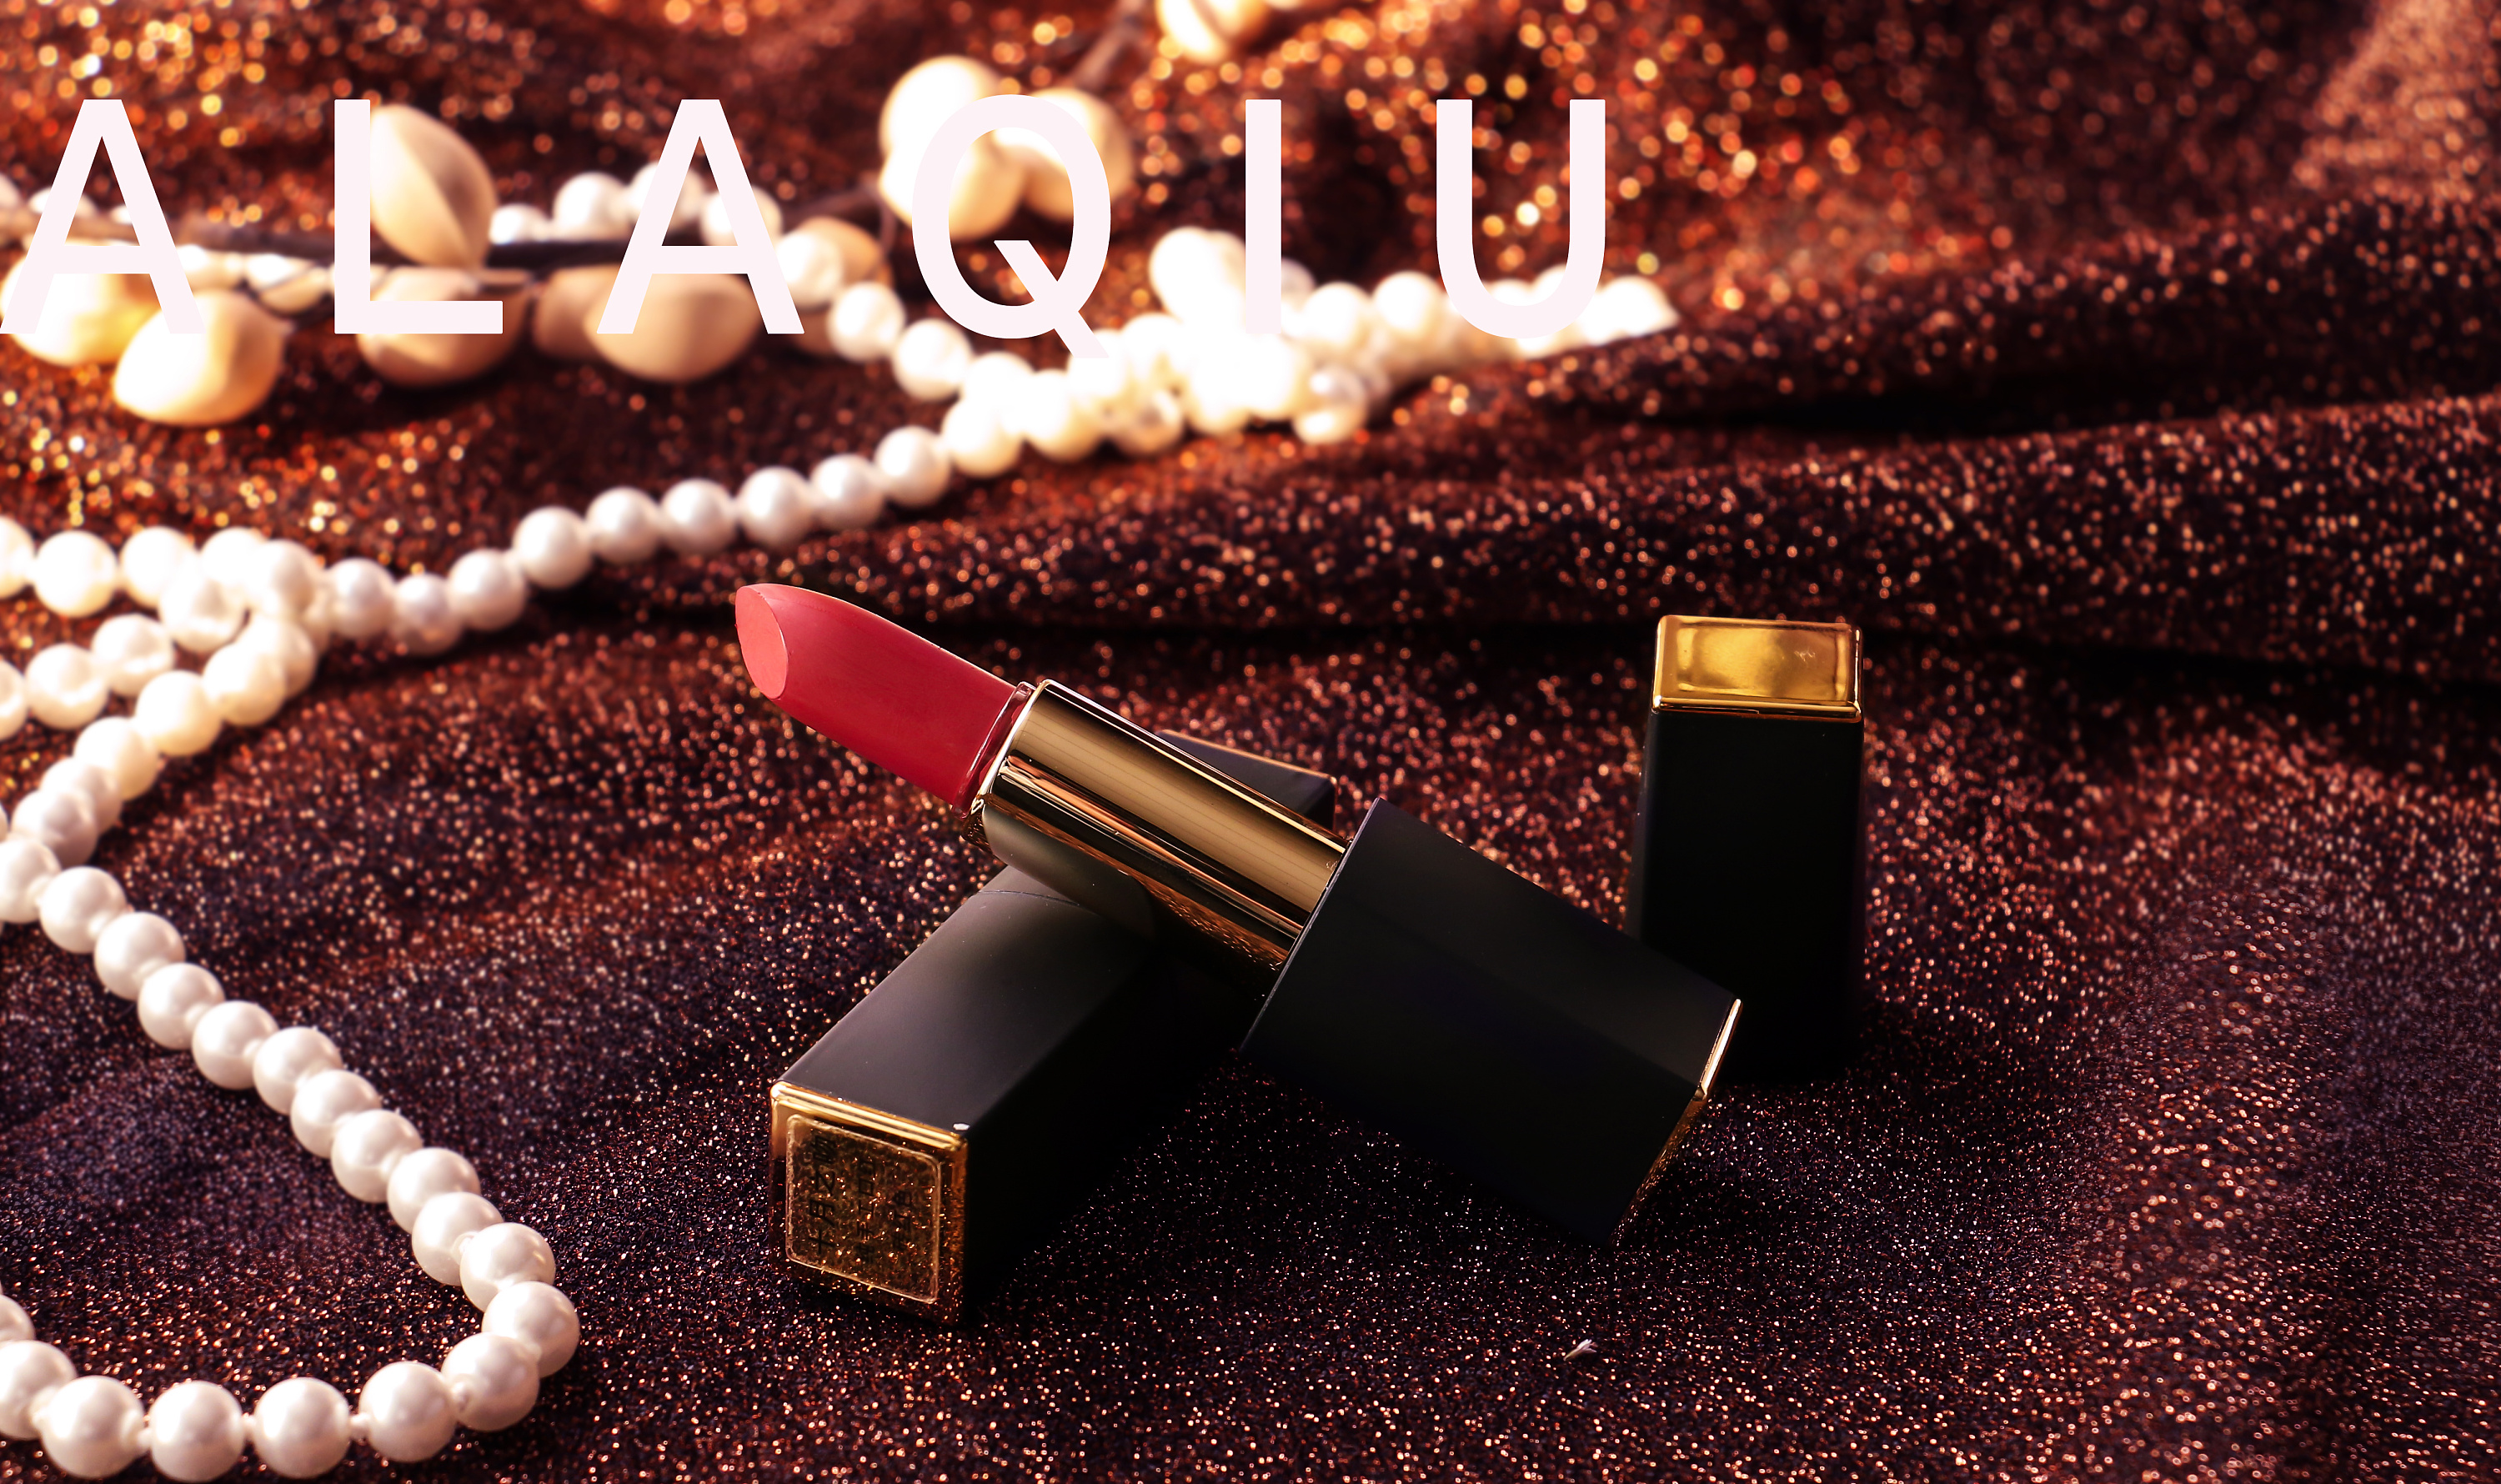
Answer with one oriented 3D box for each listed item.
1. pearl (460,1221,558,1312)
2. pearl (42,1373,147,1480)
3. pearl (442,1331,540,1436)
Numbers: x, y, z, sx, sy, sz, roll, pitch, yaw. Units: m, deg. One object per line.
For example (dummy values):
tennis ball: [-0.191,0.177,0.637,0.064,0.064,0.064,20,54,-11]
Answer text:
pearl: [-0.287,0.202,0.902,0.045,0.033,0.033,15,66,-11]
pearl: [-0.422,0.252,0.855,0.044,0.036,0.037,6,25,-23]
pearl: [-0.283,0.242,0.876,0.041,0.018,0.019,18,71,32]
